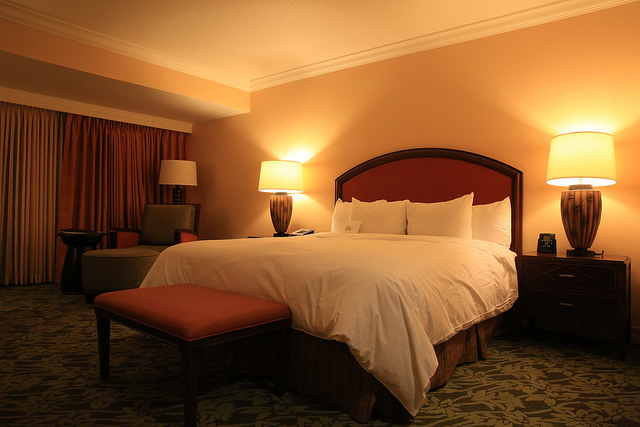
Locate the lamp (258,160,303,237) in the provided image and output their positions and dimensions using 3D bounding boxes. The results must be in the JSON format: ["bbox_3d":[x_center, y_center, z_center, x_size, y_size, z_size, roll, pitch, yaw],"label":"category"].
[{"bbox_3d":[-0.534,-0.183,6.359,0.583,1.033,0.596,0,-1,33],"label":"lamp"}]

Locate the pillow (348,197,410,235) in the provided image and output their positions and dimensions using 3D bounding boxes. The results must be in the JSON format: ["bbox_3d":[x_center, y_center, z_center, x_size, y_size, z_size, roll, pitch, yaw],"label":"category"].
[{"bbox_3d":[0.644,0.033,5.069,0.432,0.390,0.622,2,0,-38],"label":"pillow"}]

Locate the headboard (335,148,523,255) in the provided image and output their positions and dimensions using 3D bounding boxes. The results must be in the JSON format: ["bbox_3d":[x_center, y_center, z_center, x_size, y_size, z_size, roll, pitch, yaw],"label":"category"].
[{"bbox_3d":[1.183,-0.085,5.426,2.199,1.374,0.106,0,4,25],"label":"headboard"}]

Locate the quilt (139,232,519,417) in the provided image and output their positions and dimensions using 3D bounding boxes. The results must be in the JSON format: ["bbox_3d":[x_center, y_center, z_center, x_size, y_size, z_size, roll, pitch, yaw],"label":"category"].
[{"bbox_3d":[-0.337,0.738,4.472,3.168,1.143,3.652,0,-1,33],"label":"quilt"}]

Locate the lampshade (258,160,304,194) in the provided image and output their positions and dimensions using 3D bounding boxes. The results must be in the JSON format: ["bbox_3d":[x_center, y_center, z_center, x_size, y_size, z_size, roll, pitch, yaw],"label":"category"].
[{"bbox_3d":[-0.540,-0.478,6.218,0.474,0.441,0.507,3,2,10],"label":"lampshade"}]

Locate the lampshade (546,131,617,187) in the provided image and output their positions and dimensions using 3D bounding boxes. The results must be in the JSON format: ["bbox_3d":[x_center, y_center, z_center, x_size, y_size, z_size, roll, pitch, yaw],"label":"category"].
[{"bbox_3d":[2.522,-0.467,4.474,0.581,0.576,0.532,11,4,38],"label":"lampshade"}]

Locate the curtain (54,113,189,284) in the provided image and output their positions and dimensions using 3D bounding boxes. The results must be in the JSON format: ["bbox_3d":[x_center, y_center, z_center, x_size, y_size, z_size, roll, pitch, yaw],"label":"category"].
[{"bbox_3d":[-2.854,-0.219,6.347,2.051,2.579,0.419,2,-1,-45],"label":"curtain"}]

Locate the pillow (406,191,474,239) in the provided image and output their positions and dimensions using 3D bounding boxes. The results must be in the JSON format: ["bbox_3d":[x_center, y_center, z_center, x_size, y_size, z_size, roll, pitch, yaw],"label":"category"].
[{"bbox_3d":[1.244,0.066,4.861,0.772,0.507,0.233,-1,7,33],"label":"pillow"}]

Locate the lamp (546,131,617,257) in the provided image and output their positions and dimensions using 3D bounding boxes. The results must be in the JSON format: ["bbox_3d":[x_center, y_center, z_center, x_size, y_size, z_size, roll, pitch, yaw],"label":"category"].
[{"bbox_3d":[2.560,-0.127,4.516,0.702,1.191,0.693,3,-14,25],"label":"lamp"}]

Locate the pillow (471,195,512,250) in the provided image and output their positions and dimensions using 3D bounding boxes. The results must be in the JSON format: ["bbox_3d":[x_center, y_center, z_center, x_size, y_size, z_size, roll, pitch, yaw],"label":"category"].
[{"bbox_3d":[1.786,0.113,4.743,0.566,0.521,0.211,0,-22,38],"label":"pillow"}]

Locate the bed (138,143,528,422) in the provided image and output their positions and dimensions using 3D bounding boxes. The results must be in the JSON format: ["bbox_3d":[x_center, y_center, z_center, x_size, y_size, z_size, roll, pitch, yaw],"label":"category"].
[{"bbox_3d":[0.321,0.300,4.387,2.890,1.865,3.378,9,14,37],"label":"bed"}]

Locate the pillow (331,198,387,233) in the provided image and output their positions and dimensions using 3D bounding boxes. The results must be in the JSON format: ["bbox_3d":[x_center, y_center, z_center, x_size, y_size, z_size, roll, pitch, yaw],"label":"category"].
[{"bbox_3d":[0.315,0.088,5.629,0.488,0.468,0.195,-2,-21,21],"label":"pillow"}]

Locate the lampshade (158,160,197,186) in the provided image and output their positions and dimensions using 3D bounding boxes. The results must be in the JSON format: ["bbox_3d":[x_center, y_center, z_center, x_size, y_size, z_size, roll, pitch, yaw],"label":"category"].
[{"bbox_3d":[-2.241,-0.634,7.187,0.592,0.402,0.578,3,2,4],"label":"lampshade"}]

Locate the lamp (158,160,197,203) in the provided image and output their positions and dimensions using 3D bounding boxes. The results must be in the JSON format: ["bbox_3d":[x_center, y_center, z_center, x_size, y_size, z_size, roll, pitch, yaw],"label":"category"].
[{"bbox_3d":[-2.240,-0.494,7.349,0.656,0.893,0.638,1,2,-17],"label":"lamp"}]

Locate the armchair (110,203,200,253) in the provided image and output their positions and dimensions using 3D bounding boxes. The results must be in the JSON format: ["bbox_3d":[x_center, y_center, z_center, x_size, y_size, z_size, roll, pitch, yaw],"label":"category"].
[{"bbox_3d":[-2.222,0.163,6.366,0.850,1.159,0.870,1,-7,9],"label":"armchair"}]
